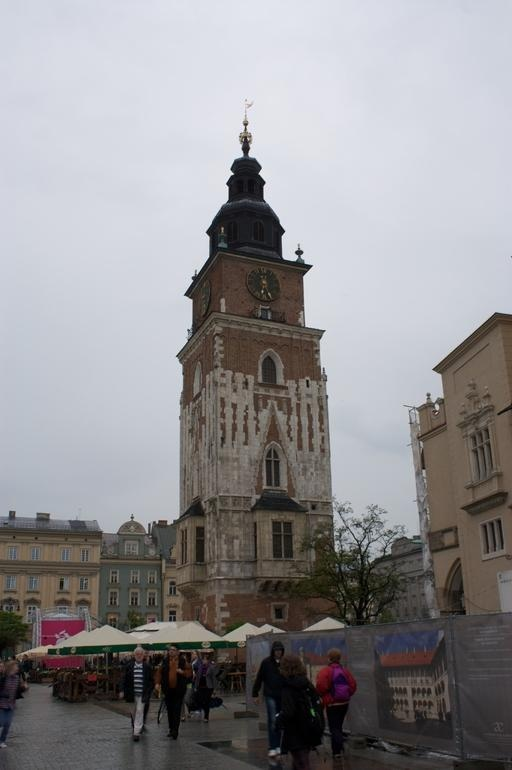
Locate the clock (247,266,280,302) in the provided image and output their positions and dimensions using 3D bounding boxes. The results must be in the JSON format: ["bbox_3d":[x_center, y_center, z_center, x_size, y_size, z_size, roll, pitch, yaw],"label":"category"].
[{"bbox_3d":[0.363,-6.829,49.471,0.246,1.904,1.910,-24,18,48],"label":"clock"}]

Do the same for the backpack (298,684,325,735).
[{"bbox_3d":[0.578,3.336,7.399,0.130,0.511,0.371,-10,-17,22],"label":"backpack"}]
